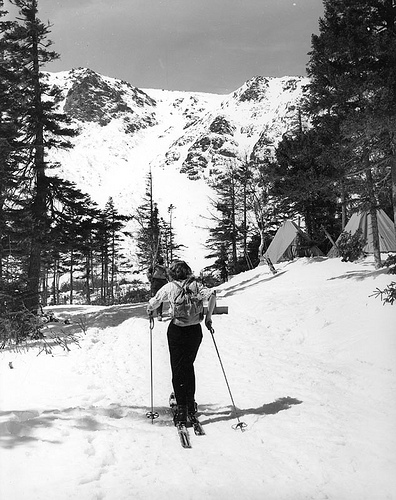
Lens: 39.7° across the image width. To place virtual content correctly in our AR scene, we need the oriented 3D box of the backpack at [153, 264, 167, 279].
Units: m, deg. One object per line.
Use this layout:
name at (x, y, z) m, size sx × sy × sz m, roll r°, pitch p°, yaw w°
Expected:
backpack at (-1.002, 0.575, 14.448) m, size 0.345 × 0.376 × 0.701 m, roll 0°, pitch 3°, yaw -2°

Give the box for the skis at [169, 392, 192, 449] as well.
skis at (-0.246, 2.245, 7.211) m, size 0.140 × 0.109 × 0.991 m, roll -5°, pitch 18°, yaw -9°

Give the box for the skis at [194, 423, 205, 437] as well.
skis at (0.003, 2.342, 7.143) m, size 0.069 × 0.031 × 0.125 m, roll -11°, pitch 31°, yaw -17°

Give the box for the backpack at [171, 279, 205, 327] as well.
backpack at (-0.123, 0.567, 7.265) m, size 0.364 × 0.319 × 0.551 m, roll 2°, pitch -38°, yaw 3°
